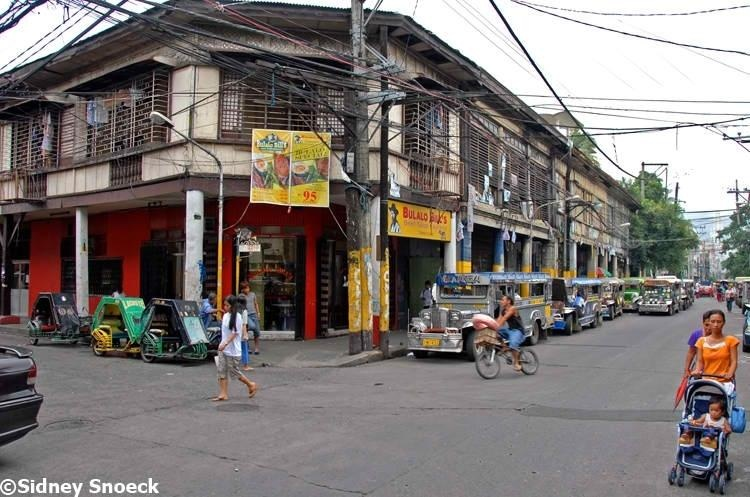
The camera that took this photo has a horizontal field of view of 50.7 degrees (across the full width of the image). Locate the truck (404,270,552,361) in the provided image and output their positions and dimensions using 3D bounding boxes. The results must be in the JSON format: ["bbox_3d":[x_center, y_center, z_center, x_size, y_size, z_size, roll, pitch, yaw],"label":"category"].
[{"bbox_3d":[3.723,2.248,28.078,2.547,1.976,5.033,-5,-9,36],"label":"truck"}]

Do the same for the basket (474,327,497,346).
[{"bbox_3d":[3.262,2.601,23.444,0.704,0.492,0.417,3,-15,-33],"label":"basket"}]

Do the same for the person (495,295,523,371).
[{"bbox_3d":[4.026,2.481,23.885,1.229,2.093,0.726,-2,-3,22],"label":"person"}]

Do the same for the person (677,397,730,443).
[{"bbox_3d":[6.830,3.566,16.389,0.989,0.969,0.322,-1,9,-7],"label":"person"}]

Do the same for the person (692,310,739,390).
[{"bbox_3d":[7.370,2.192,17.184,0.891,1.743,1.508,-1,-1,7],"label":"person"}]

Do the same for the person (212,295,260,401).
[{"bbox_3d":[-3.627,2.576,21.010,1.286,2.772,0.955,0,-1,5],"label":"person"}]

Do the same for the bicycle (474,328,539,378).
[{"bbox_3d":[3.963,3.100,23.673,2.545,1.511,1.098,3,-14,-33],"label":"bicycle"}]

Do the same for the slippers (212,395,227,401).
[{"bbox_3d":[-3.951,3.834,20.488,0.438,0.186,0.151,3,-10,23],"label":"slippers"}]

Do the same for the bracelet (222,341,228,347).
[{"bbox_3d":[-3.846,2.433,20.412,0.097,0.128,0.036,21,-2,15],"label":"bracelet"}]

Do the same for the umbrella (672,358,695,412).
[{"bbox_3d":[7.353,3.287,18.930,0.240,1.598,0.490,7,-14,17],"label":"umbrella"}]
